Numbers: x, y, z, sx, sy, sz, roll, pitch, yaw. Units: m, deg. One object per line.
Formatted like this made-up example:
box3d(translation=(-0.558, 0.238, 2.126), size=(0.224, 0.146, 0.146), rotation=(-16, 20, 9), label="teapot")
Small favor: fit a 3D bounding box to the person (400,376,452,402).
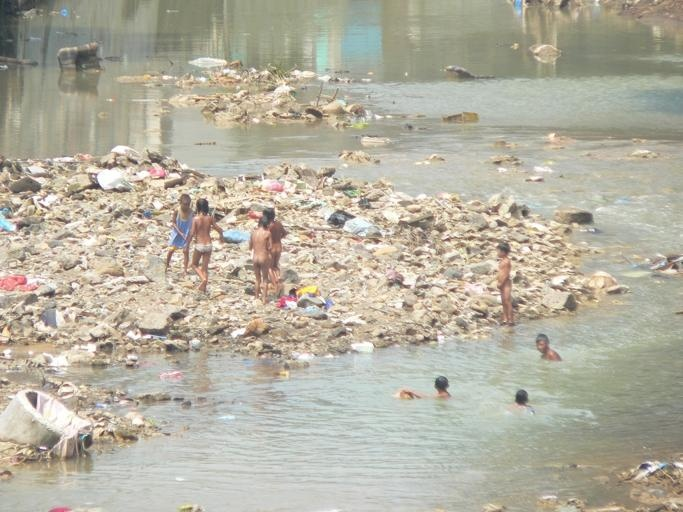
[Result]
box3d(translation=(1.527, 2.458, 22.045), size=(1.077, 0.467, 0.433), rotation=(-3, 56, -4), label="person")
